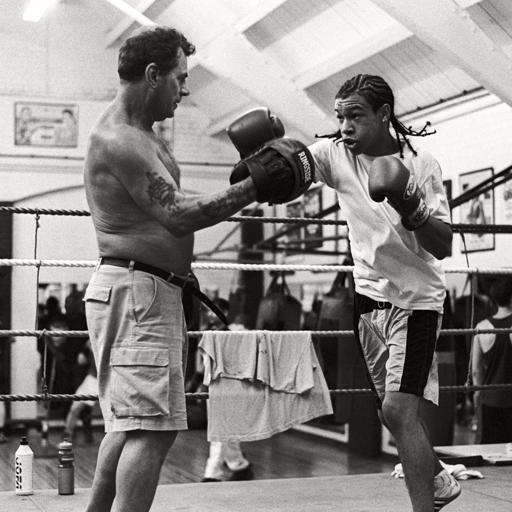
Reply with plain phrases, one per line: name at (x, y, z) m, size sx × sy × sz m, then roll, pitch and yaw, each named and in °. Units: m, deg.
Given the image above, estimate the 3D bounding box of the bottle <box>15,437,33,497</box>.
bottle at (-0.953, 0.849, 3.657) m, size 0.070 × 0.231 × 0.164 m, roll 1°, pitch -5°, yaw -14°

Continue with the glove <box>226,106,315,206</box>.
glove at (0.031, -0.301, 2.644) m, size 0.232 × 0.318 × 0.311 m, roll 1°, pitch -5°, yaw -17°

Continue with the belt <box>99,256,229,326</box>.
belt at (-0.263, 0.101, 2.667) m, size 0.301 × 0.085 × 0.223 m, roll 25°, pitch -2°, yaw -41°
